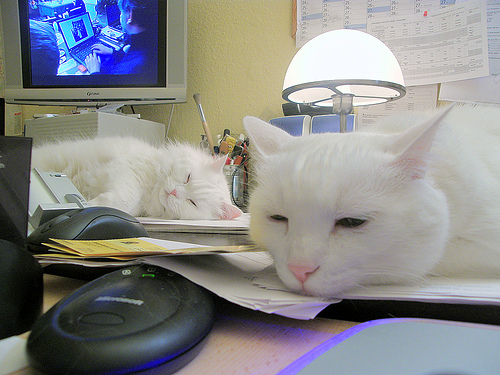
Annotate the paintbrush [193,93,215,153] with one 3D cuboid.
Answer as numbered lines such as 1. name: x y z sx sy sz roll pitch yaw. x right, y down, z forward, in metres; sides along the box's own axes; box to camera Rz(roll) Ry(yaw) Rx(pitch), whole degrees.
1. paintbrush: -0.170 -0.248 1.507 0.074 0.231 0.049 12 18 28

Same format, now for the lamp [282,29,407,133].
1. lamp: 0.243 -0.286 1.122 0.324 0.255 0.298 6 13 36

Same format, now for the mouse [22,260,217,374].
1. mouse: -0.124 0.133 0.445 0.163 0.073 0.154 1 10 13

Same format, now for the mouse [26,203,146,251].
1. mouse: -0.241 0.062 0.616 0.077 0.040 0.133 -1 -8 36

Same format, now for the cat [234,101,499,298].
1. cat: 0.221 -0.003 0.626 0.425 0.236 0.283 -4 11 -13

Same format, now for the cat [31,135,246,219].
1. cat: -0.360 -0.043 1.272 0.476 0.132 0.329 11 12 2
